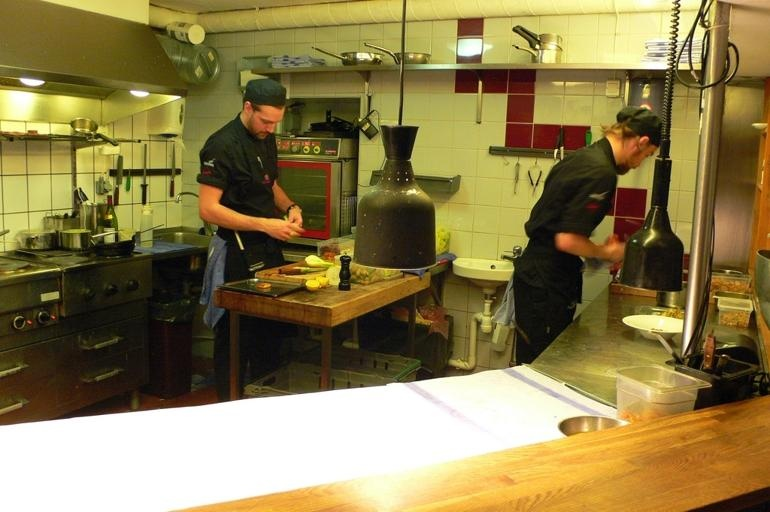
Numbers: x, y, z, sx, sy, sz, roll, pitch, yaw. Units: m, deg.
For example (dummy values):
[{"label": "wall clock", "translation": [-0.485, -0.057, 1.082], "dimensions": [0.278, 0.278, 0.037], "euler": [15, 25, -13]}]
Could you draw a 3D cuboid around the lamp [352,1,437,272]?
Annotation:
[{"label": "lamp", "translation": [0.033, -0.371, 1.976], "dimensions": [0.262, 0.888, 0.234], "euler": [-2, 10, -21]}]

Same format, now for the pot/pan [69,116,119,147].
[{"label": "pot/pan", "translation": [-2.266, -0.922, 4.649], "dimensions": [0.396, 0.106, 0.166], "euler": [28, 37, 0]}]

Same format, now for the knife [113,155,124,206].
[{"label": "knife", "translation": [-2.237, -0.625, 5.112], "dimensions": [0.090, 0.405, 0.039], "euler": [3, 2, 3]}]

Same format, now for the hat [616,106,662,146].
[{"label": "hat", "translation": [1.351, -0.673, 3.136], "dimensions": [0.186, 0.207, 0.297], "euler": [-2, 9, -20]}]

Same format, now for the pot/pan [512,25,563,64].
[{"label": "pot/pan", "translation": [1.083, -1.530, 4.462], "dimensions": [0.460, 0.236, 0.256], "euler": [-5, 9, -33]}]

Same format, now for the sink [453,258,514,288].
[{"label": "sink", "translation": [0.766, 0.135, 4.806], "dimensions": [0.483, 0.197, 0.365], "euler": [3, 9, 14]}]

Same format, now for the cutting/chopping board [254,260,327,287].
[{"label": "cutting/chopping board", "translation": [-0.510, 0.118, 3.714], "dimensions": [0.495, 0.088, 0.409], "euler": [5, 9, 29]}]

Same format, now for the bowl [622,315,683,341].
[{"label": "bowl", "translation": [1.318, 0.343, 3.001], "dimensions": [0.207, 0.038, 0.178], "euler": [-6, 16, -19]}]

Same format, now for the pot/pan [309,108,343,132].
[{"label": "pot/pan", "translation": [-0.508, -1.168, 5.270], "dimensions": [0.362, 0.187, 0.178], "euler": [2, 6, 2]}]

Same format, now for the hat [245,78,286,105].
[{"label": "hat", "translation": [-0.730, -1.027, 3.742], "dimensions": [0.225, 0.089, 0.195], "euler": [5, 18, 8]}]

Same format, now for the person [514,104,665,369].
[{"label": "person", "translation": [1.062, -0.058, 3.281], "dimensions": [0.717, 1.472, 0.449], "euler": [3, 9, 10]}]

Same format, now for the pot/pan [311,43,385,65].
[{"label": "pot/pan", "translation": [-0.300, -1.622, 4.902], "dimensions": [0.503, 0.081, 0.241], "euler": [3, 7, 17]}]

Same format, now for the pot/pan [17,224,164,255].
[{"label": "pot/pan", "translation": [-2.125, -0.098, 4.236], "dimensions": [0.612, 0.122, 0.294], "euler": [2, 4, 0]}]

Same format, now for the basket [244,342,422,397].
[{"label": "basket", "translation": [-0.314, 0.699, 3.583], "dimensions": [1.009, 0.221, 0.459], "euler": [1, 8, 0]}]

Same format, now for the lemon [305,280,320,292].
[{"label": "lemon", "translation": [-0.413, 0.171, 3.466], "dimensions": [0.073, 0.035, 0.068], "euler": [1, 13, 29]}]

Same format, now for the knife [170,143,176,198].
[{"label": "knife", "translation": [-1.970, -0.785, 5.604], "dimensions": [0.073, 0.485, 0.171], "euler": [-2, 10, -19]}]
